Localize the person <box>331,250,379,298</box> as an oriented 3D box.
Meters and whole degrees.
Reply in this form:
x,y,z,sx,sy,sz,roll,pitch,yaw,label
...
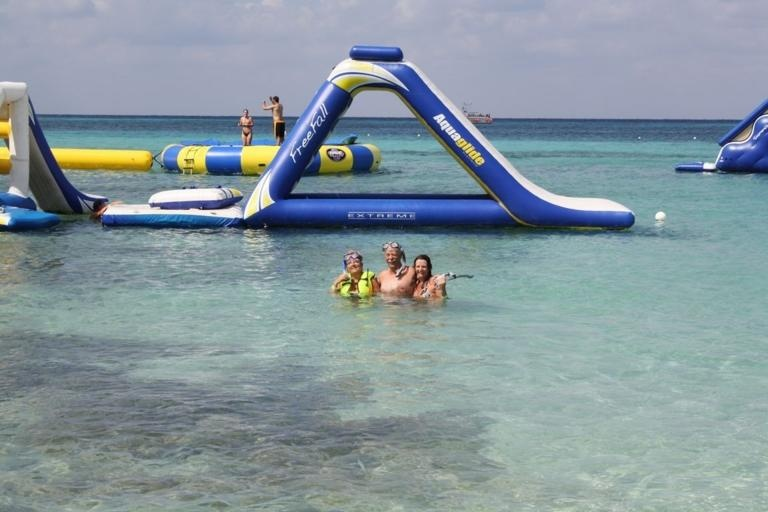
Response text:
x,y,z,sx,sy,sz,roll,pitch,yaw,label
-0.296,0.268,11.500,0.905,0.556,0.532,-3,2,45,person

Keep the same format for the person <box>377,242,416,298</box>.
x,y,z,sx,sy,sz,roll,pitch,yaw,label
0.228,0.194,11.229,0.493,0.761,0.593,5,38,-8,person

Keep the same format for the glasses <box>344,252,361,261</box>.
x,y,z,sx,sy,sz,roll,pitch,yaw,label
-0.434,0.009,11.259,0.224,0.059,0.192,-1,-6,-2,glasses

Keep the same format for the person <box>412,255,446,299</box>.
x,y,z,sx,sy,sz,roll,pitch,yaw,label
0.672,0.288,11.132,0.469,0.593,0.478,3,38,-9,person
